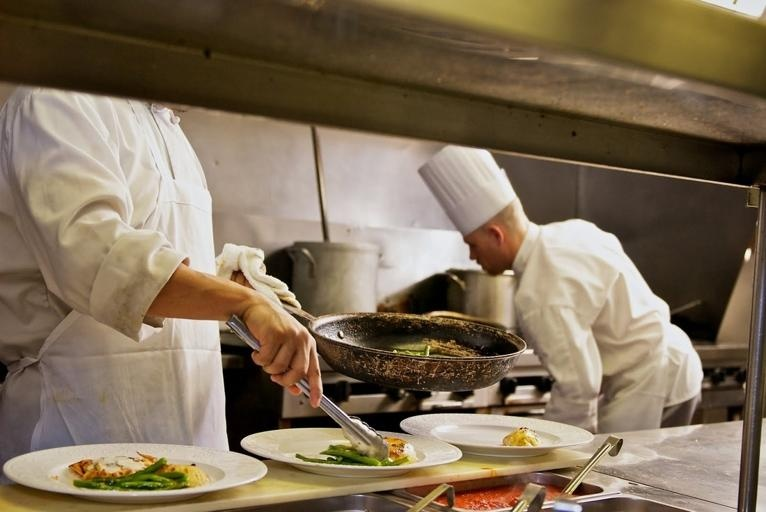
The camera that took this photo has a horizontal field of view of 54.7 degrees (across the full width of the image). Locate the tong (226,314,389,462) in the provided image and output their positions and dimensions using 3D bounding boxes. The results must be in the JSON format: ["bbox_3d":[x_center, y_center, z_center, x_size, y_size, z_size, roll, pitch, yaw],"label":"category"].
[{"bbox_3d":[-0.141,0.253,1.452,0.342,0.276,0.163,5,10,-14],"label":"tong"}]

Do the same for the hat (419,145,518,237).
[{"bbox_3d":[0.310,-0.234,2.828,0.346,0.312,0.307,-28,4,9],"label":"hat"}]
